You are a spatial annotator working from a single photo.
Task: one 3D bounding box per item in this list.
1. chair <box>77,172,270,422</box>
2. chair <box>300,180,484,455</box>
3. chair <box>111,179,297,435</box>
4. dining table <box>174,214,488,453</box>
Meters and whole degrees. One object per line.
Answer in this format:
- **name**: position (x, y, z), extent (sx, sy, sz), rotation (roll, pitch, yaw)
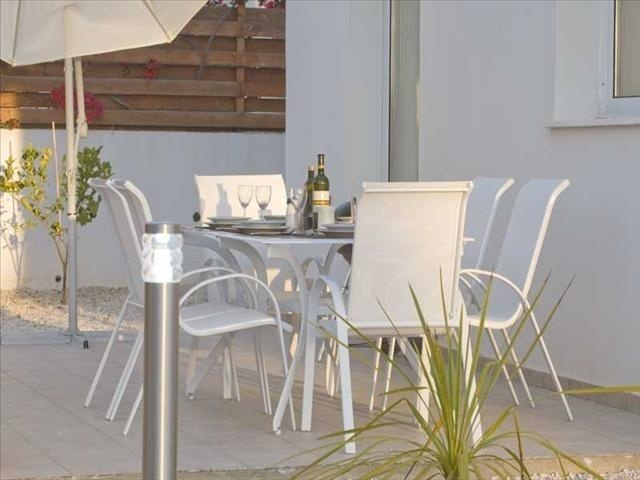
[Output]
- **chair**: position (-0.973, 0.332, 6.125), extent (0.761, 1.347, 0.816), rotation (5, 5, -25)
- **chair**: position (0.381, 0.419, 5.511), extent (0.939, 1.459, 0.509), rotation (2, 8, 8)
- **chair**: position (-0.754, 0.373, 6.277), extent (0.886, 1.492, 0.896), rotation (-4, -5, 13)
- **dining table**: position (0.015, 0.384, 5.679), extent (0.888, 1.514, 1.748), rotation (0, 4, -24)
